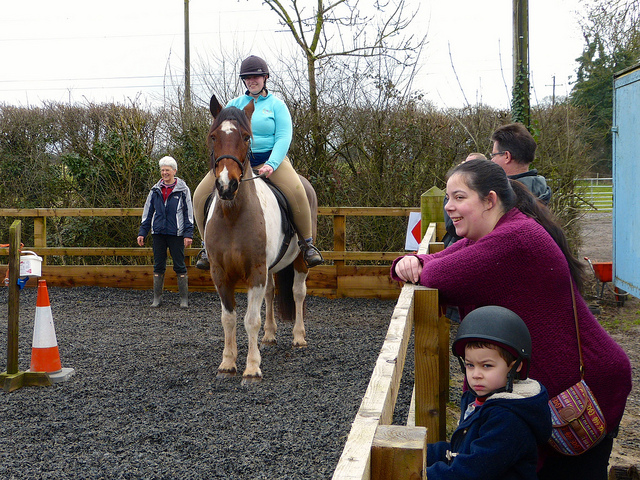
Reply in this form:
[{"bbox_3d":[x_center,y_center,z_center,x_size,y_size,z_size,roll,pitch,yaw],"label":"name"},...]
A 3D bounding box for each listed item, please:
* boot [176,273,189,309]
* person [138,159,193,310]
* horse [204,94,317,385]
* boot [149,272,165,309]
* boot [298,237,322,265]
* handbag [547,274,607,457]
[{"bbox_3d":[-2.315,0.855,10.603,0.148,0.542,0.402,-2,6,-18],"label":"boot"},{"bbox_3d":[-2.562,-0.097,10.479,0.882,2.459,0.473,-1,6,-3],"label":"person"},{"bbox_3d":[-0.775,-0.129,6.980,1.046,3.739,1.556,4,14,-1],"label":"horse"},{"bbox_3d":[-2.788,0.842,10.662,0.207,0.575,0.529,-1,6,-4],"label":"boot"},{"bbox_3d":[-0.088,0.144,7.864,0.161,0.356,0.476,-24,7,-17],"label":"boot"},{"bbox_3d":[1.572,1.083,3.809,0.356,0.450,0.091,0,6,-1],"label":"handbag"}]
